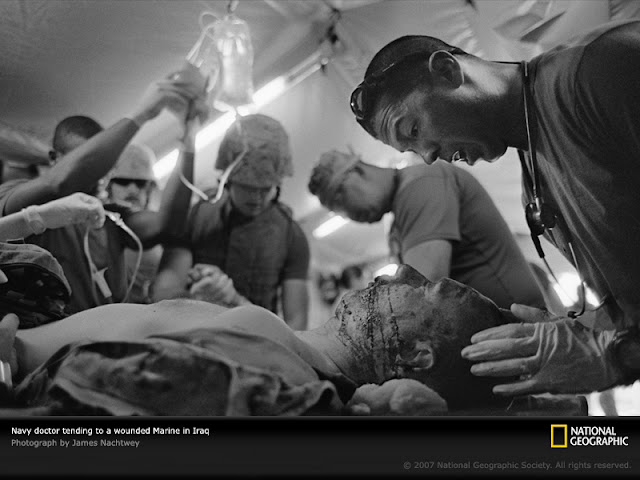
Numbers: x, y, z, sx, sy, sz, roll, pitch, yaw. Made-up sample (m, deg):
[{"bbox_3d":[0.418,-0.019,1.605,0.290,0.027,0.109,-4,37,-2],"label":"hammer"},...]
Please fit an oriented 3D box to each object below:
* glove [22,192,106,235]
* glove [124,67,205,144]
[{"bbox_3d":[-1.548,-0.155,4.608,0.414,0.223,0.150,-15,-27,-15],"label":"glove"},{"bbox_3d":[-0.917,-0.852,4.756,0.375,0.456,0.144,28,-15,33],"label":"glove"}]
